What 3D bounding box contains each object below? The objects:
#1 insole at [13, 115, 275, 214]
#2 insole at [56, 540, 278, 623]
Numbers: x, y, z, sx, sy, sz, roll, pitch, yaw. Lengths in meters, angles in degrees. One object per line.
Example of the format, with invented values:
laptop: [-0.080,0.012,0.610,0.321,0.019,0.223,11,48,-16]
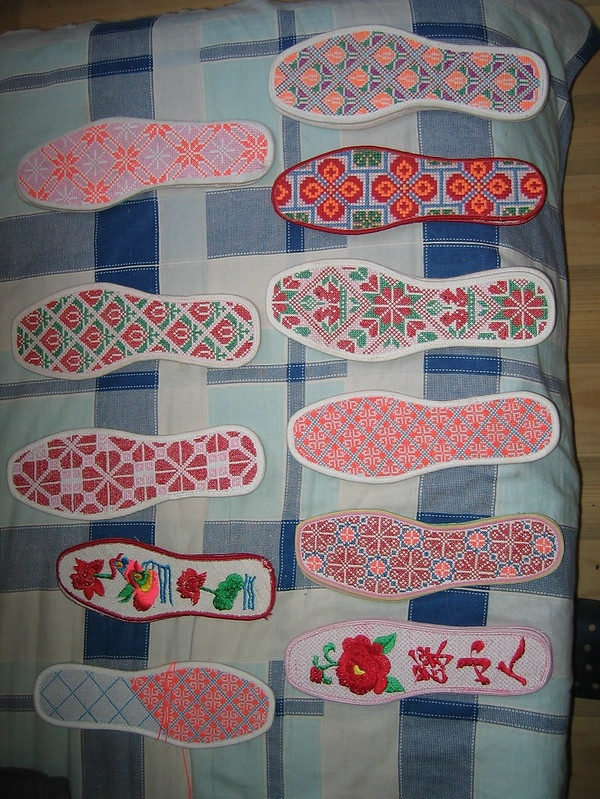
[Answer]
insole: [-0.315,-0.443,1.491,0.527,0.153,0.041,-1,-1,9]
insole: [-0.251,0.336,1.517,0.460,0.026,0.138,-1,76,23]
